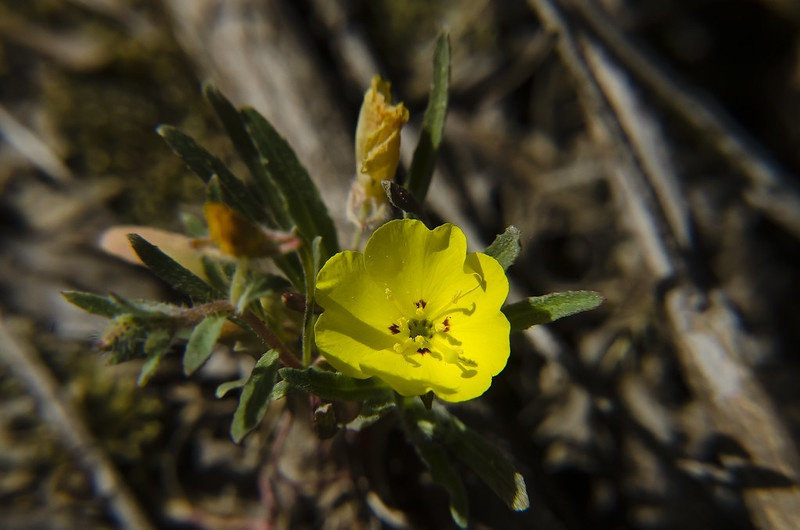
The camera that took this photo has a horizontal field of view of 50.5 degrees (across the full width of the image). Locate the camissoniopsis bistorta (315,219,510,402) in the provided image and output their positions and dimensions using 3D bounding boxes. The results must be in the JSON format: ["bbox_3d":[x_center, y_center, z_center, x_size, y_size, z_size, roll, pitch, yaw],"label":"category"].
[{"bbox_3d":[0.061,0.218,4.293,0.980,0.230,0.864,6,80,-2],"label":"camissoniopsis bistorta"}]
